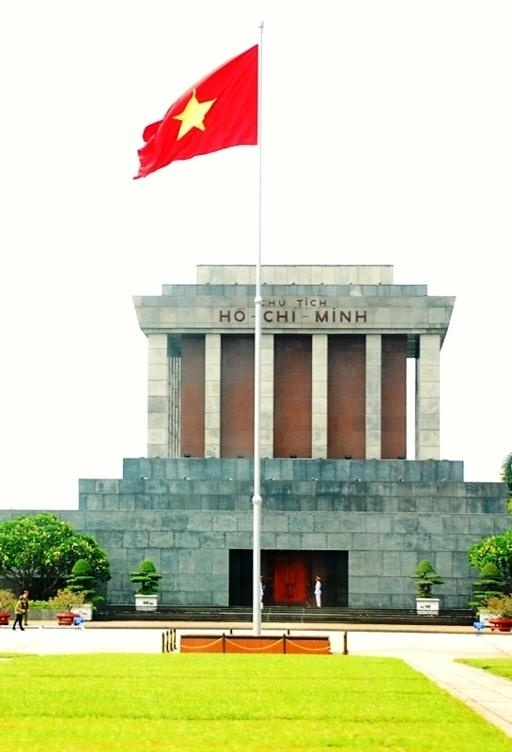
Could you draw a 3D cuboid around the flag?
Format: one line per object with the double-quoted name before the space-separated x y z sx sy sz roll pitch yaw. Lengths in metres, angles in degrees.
"flag" -1.668 -6.926 51.712 3.361 4.112 0.567 -10 -44 5
